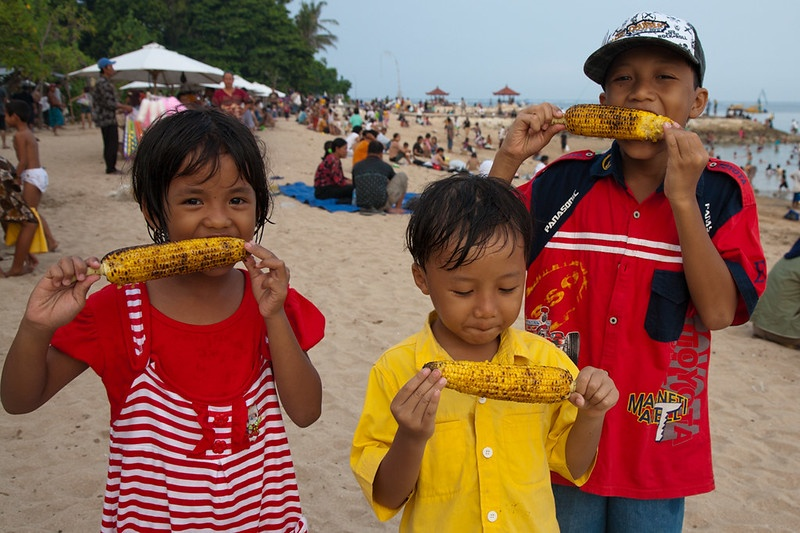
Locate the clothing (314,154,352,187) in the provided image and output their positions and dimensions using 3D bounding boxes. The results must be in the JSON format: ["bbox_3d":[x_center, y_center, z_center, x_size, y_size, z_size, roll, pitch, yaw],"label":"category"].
[{"bbox_3d":[-1.356,-2.040,13.984,0.740,0.779,0.599,-5,31,-14],"label":"clothing"}]

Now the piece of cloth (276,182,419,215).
[{"bbox_3d":[-1.056,-1.301,13.194,1.267,0.195,1.808,28,26,37],"label":"piece of cloth"}]

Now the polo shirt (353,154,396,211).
[{"bbox_3d":[-0.506,-1.664,13.728,1.057,1.287,0.952,3,9,8],"label":"polo shirt"}]
